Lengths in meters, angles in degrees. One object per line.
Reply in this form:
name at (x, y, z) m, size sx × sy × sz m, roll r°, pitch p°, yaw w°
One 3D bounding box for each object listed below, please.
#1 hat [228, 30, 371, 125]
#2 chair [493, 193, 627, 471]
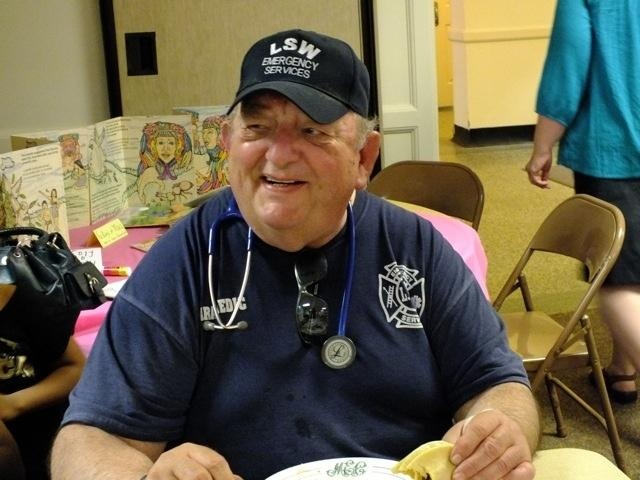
hat at (-0.036, -0.390, 1.185) m, size 0.203 × 0.171 × 0.290 m, roll 11°, pitch 5°, yaw 21°
chair at (0.912, 0.450, 2.333) m, size 0.746 × 1.179 × 0.682 m, roll -5°, pitch 12°, yaw 8°
